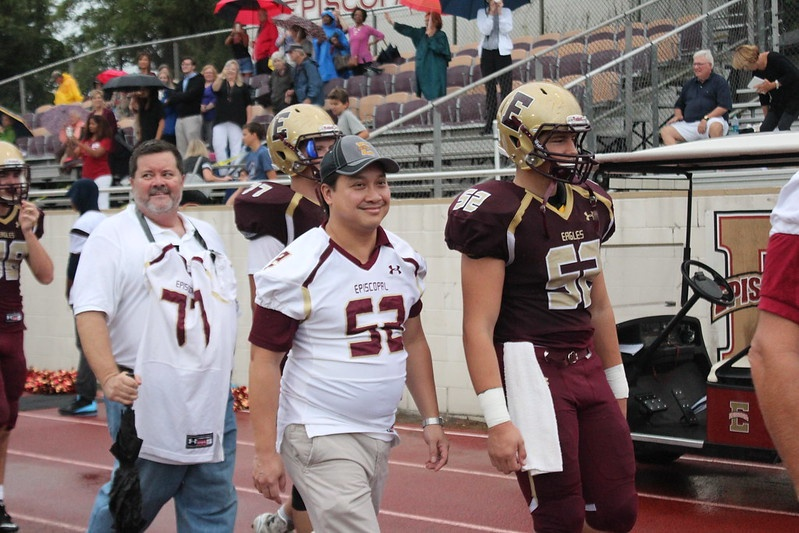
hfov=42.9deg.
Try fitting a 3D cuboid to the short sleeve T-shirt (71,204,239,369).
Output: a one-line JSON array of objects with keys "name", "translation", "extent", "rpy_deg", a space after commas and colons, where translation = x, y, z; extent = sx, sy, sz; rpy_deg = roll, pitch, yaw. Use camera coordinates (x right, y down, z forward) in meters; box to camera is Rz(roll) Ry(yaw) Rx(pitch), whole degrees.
[{"name": "short sleeve T-shirt", "translation": [-1.952, 0.243, 8.281], "extent": [0.706, 1.404, 1.805], "rpy_deg": [-2, -8, 42]}]

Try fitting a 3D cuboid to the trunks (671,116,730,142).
[{"name": "trunks", "translation": [4.011, -1.833, 13.709], "extent": [0.729, 0.315, 0.264], "rpy_deg": [2, 5, 13]}]

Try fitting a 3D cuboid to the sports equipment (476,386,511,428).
[{"name": "sports equipment", "translation": [0.689, 1.031, 7.499], "extent": [0.234, 0.295, 0.165], "rpy_deg": [0, 5, -7]}]

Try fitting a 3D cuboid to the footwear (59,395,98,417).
[{"name": "footwear", "translation": [-4.132, 1.806, 13.198], "extent": [0.580, 0.253, 0.203], "rpy_deg": [6, -4, -26]}]

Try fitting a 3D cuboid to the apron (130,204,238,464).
[{"name": "apron", "translation": [-1.687, 0.653, 7.921], "extent": [0.770, 1.701, 0.414], "rpy_deg": [-1, 5, -11]}]

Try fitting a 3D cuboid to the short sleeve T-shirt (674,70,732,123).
[{"name": "short sleeve T-shirt", "translation": [4.102, -2.314, 13.891], "extent": [0.780, 0.693, 0.440], "rpy_deg": [5, 3, 38]}]
